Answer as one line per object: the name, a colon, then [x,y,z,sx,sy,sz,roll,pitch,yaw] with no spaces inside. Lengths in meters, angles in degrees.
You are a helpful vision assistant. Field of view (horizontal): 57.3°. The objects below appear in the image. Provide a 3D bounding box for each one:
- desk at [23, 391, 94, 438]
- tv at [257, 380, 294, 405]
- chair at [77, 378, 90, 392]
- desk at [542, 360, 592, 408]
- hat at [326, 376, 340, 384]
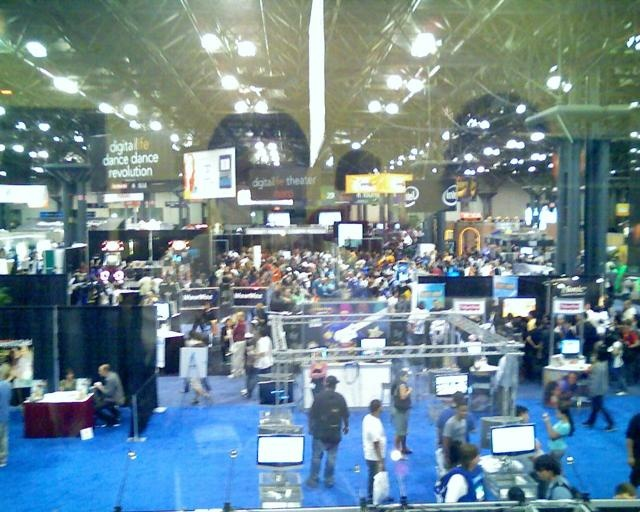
desk: [-5.412,3.326,12.396,0.955,0.576,0.991,1,-2,-4]
tv: [-0.865,2.624,11.246,0.788,0.527,0.805,0,-4,-2]
chair: [-5.054,2.750,12.528,0.263,0.294,0.268,-3,-16,14]
desk: [5.287,2.721,12.490,0.556,0.756,1.070,3,1,34]
hat: [0.216,2.170,10.247,0.199,0.179,0.286,0,0,-3]
